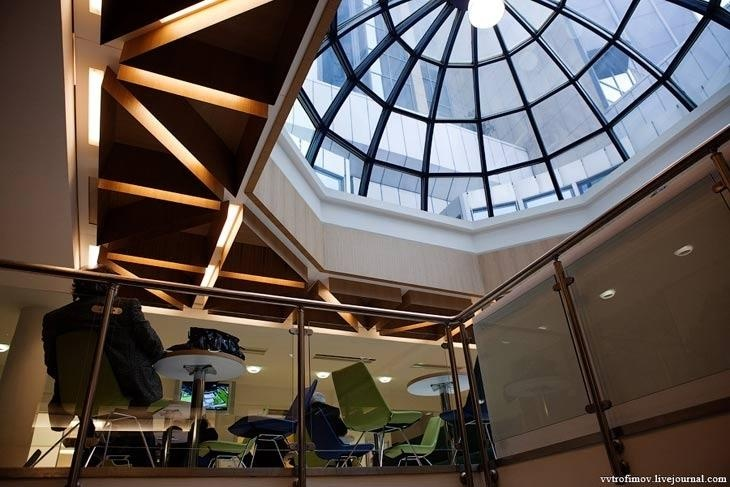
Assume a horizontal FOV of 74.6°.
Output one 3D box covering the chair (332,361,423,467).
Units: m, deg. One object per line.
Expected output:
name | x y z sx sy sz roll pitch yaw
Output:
chair | 0.141 1.290 3.541 0.527 0.758 0.511 7 -23 -14

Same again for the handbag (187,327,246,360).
handbag | -0.991 0.628 3.140 0.292 0.230 0.089 9 -27 -23

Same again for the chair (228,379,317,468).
chair | -0.632 1.232 3.269 0.537 0.562 0.354 18 -30 -27

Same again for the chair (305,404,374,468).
chair | -0.187 1.303 3.261 0.419 0.433 0.321 4 -25 -9

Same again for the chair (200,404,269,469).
chair | -0.876 1.370 3.103 0.345 0.393 0.288 9 -26 -7

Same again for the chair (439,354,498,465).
chair | 0.791 1.376 3.717 0.405 0.841 0.491 -5 -21 -8

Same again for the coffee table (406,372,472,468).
coffee table | 0.620 1.304 3.588 0.404 0.523 0.439 -19 -37 25

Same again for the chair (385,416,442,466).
chair | 0.322 1.501 3.586 0.373 0.366 0.288 9 -34 -12

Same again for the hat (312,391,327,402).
hat | -0.319 1.062 3.293 0.081 0.073 0.069 15 -11 29
